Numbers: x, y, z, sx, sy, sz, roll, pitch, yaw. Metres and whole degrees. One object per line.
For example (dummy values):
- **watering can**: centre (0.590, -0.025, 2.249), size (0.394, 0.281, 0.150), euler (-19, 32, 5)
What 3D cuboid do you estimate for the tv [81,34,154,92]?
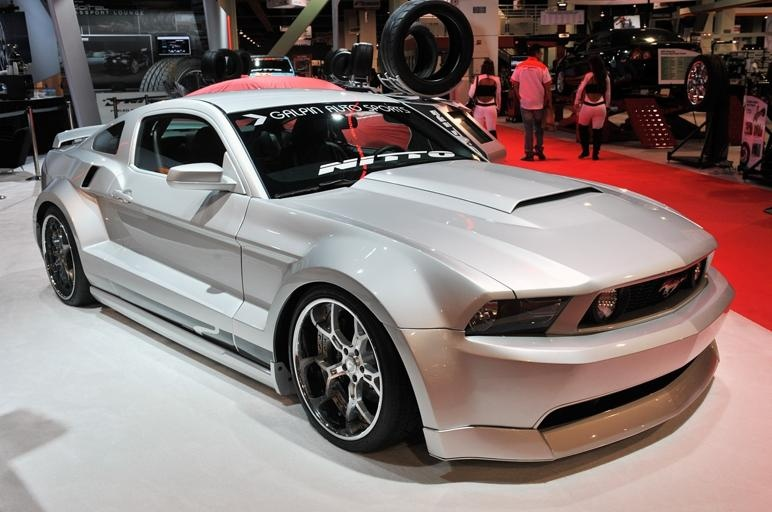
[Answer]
- **tv**: centre (-8.268, -5.856, 13.143), size (2.226, 1.459, 0.087), euler (-32, 24, -25)
